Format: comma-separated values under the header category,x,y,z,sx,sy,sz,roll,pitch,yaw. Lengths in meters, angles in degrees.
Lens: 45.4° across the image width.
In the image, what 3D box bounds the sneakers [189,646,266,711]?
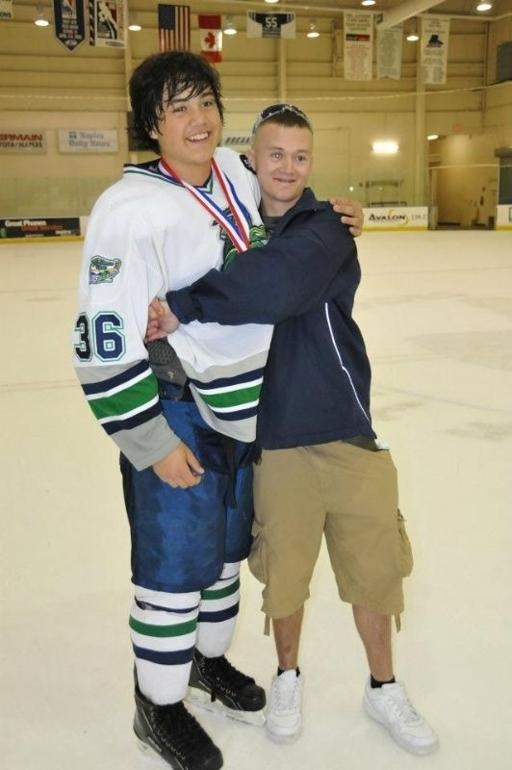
category,x,y,z,sx,sy,sz,roll,pitch,yaw
sneakers,-0.074,0.740,1.572,0.252,0.116,0.078,-2,1,44

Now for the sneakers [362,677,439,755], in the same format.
category,x,y,z,sx,sy,sz,roll,pitch,yaw
sneakers,0.321,0.728,1.356,0.058,0.069,0.174,-7,7,-23

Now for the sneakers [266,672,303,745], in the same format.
category,x,y,z,sx,sy,sz,roll,pitch,yaw
sneakers,0.067,0.736,1.379,0.051,0.067,0.151,0,1,2

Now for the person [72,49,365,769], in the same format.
category,x,y,z,sx,sy,sz,roll,pitch,yaw
person,-0.138,0.077,1.326,0.347,1.488,0.459,5,16,22
